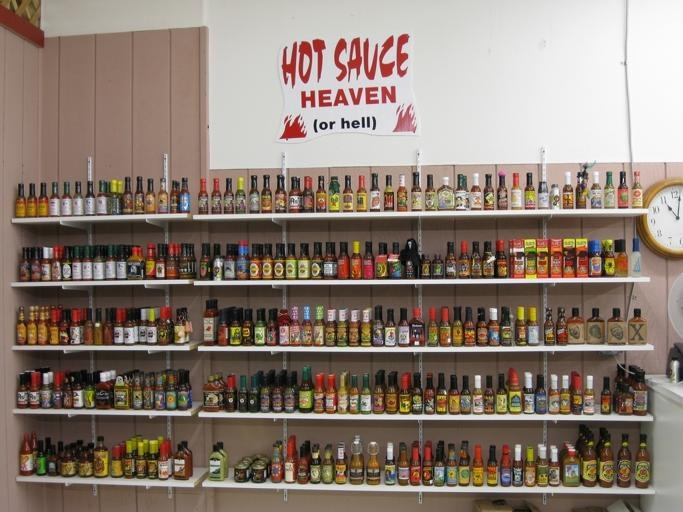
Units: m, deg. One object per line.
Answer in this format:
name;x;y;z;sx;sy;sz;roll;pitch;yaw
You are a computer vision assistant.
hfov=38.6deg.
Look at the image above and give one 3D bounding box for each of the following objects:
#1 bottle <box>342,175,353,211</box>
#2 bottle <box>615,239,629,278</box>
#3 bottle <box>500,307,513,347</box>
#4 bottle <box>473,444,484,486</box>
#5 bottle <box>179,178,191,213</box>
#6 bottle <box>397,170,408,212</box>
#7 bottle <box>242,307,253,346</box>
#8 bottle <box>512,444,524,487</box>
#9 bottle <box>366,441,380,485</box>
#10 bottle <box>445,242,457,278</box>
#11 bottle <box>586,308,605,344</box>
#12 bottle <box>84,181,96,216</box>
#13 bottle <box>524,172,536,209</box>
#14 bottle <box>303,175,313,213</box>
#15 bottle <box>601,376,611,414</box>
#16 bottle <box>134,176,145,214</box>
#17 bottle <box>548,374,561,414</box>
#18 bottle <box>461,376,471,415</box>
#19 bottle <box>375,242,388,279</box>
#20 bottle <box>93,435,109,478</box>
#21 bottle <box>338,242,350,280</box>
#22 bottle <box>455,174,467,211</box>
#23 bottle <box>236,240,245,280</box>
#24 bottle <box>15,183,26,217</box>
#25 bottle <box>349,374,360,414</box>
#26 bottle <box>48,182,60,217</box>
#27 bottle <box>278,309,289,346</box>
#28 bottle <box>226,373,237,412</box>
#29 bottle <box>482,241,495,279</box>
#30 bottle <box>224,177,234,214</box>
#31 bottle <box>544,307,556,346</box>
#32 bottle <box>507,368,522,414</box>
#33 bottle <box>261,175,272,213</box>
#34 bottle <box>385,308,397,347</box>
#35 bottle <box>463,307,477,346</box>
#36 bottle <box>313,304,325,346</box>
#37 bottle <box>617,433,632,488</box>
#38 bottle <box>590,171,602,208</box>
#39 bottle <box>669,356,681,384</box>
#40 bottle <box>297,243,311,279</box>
bottle;0.036;-0.431;6.497;0.079;0.278;0.215;-2;-6;0
bottle;1.812;-0.001;6.285;0.074;0.240;0.092;-4;-6;17
bottle;1.072;0.446;6.328;0.077;0.243;0.049;-2;-6;-6
bottle;0.893;1.345;6.364;0.085;0.262;0.171;-3;-6;8
bottle;-1.056;-0.411;6.507;0.079;0.238;0.095;-1;-6;-18
bottle;0.402;-0.424;6.473;0.089;0.278;0.315;-3;-6;3
bottle;-0.635;0.457;6.506;0.079;0.257;0.209;-2;-6;-6
bottle;1.152;1.337;6.311;0.088;0.263;0.080;1;-7;-31
bottle;0.207;1.346;6.456;0.095;0.264;0.285;-3;-6;3
bottle;0.734;0.016;6.436;0.067;0.248;0.232;-4;-6;18
bottle;1.677;0.443;6.362;0.157;0.230;0.102;3;-8;-43
bottle;-1.719;-0.395;6.588;0.076;0.246;0.163;-1;-6;-16
bottle;1.250;-0.444;6.412;0.073;0.272;0.230;-5;-6;20
bottle;-0.230;-0.414;6.482;0.076;0.234;0.207;-2;-6;-1
bottle;1.729;0.891;6.349;0.085;0.241;0.146;-5;-6;21
bottle;-1.379;-0.422;6.576;0.073;0.270;0.185;-1;-6;-12
bottle;1.389;0.878;6.292;0.090;0.245;0.098;-2;-6;0
bottle;0.819;0.892;6.426;0.077;0.246;0.254;-3;-6;7
bottle;0.262;0.021;6.384;0.086;0.231;0.118;-3;-6;8
bottle;-1.627;1.325;6.528;0.101;0.272;0.107;-2;-6;0
bottle;0.011;0.021;6.390;0.080;0.247;0.081;-2;-6;0
bottle;0.782;-0.425;6.350;0.084;0.230;0.052;-3;-6;6
bottle;-0.670;0.018;6.423;0.080;0.252;0.030;-5;-6;23
bottle;-2.195;-0.383;6.576;0.093;0.229;0.036;-3;-6;9
bottle;0.080;0.890;6.382;0.071;0.246;0.162;-2;-6;0
bottle;-1.954;-0.387;6.580;0.074;0.238;0.134;-1;-6;-19
bottle;-0.388;0.455;6.437;0.081;0.245;0.087;-2;-6;0
bottle;-0.746;0.892;6.460;0.083;0.239;0.113;-1;-6;-12
bottle;0.970;0.011;6.348;0.074;0.238;0.112;-7;-7;41
bottle;-0.763;-0.409;6.491;0.069;0.245;0.179;-2;-6;-8
bottle;1.358;0.445;6.344;0.076;0.232;0.070;-2;-6;0
bottle;1.130;0.861;6.331;0.084;0.289;0.079;-2;-6;0
bottle;-0.512;-0.428;6.533;0.086;0.292;0.259;-2;-6;-4
bottle;0.311;0.454;6.347;0.079;0.240;0.055;-3;-6;2
bottle;0.849;0.447;6.354;0.064;0.252;0.121;-7;-7;40
bottle;-0.154;0.450;6.419;0.079;0.252;0.130;-2;-6;-2
bottle;1.846;1.304;6.322;0.086;0.344;0.139;-6;-7;33
bottle;1.681;-0.445;6.404;0.087;0.280;0.277;-4;-6;15
bottle;2.181;0.734;6.326;0.071;0.153;0.065;-3;-6;6
bottle;-0.239;0.025;6.424;0.071;0.240;0.115;-6;-7;34
